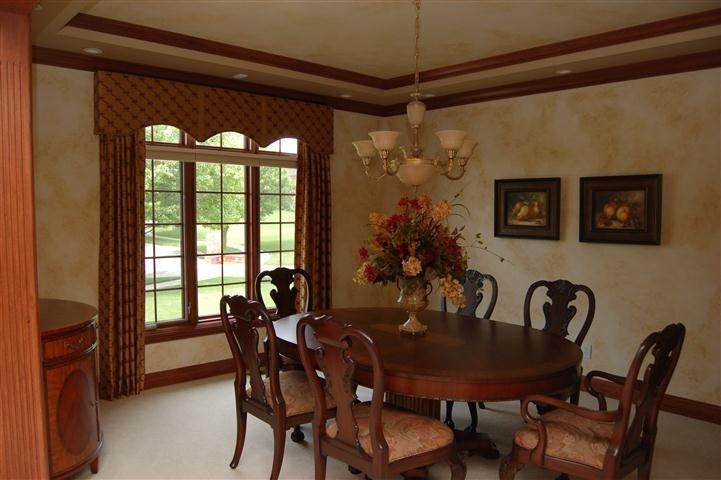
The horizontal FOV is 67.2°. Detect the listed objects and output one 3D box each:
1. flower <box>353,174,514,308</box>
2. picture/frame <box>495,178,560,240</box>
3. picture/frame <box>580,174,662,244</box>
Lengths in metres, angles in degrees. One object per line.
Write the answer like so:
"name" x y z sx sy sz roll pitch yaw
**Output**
"flower" 0.412 0.063 4.221 0.818 0.851 0.374 3 14 13
"picture/frame" 1.876 -0.347 5.984 0.720 0.685 0.055 1 3 42
"picture/frame" 2.623 -0.311 5.378 0.733 0.703 0.058 1 -1 45
